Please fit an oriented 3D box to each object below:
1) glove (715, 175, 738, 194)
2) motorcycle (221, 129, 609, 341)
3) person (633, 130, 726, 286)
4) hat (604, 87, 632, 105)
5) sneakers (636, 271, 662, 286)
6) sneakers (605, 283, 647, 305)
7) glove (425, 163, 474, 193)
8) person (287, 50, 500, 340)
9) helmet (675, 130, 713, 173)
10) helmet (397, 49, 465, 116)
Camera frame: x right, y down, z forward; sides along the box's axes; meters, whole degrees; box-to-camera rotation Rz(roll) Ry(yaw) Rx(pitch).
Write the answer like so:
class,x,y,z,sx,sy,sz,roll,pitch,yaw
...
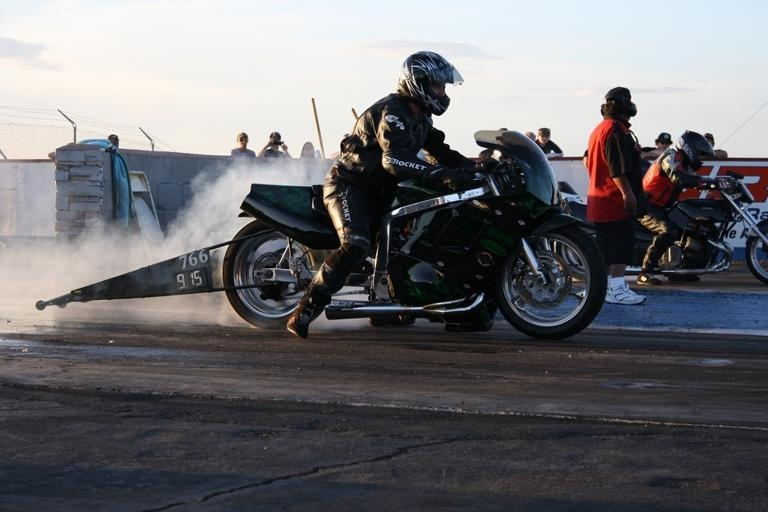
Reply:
class,x,y,z,sx,sy,sz,roll,pitch,yaw
glove,4.304,-0.912,12.603,0.382,0.181,0.207,-1,-14,6
motorcycle,0.222,-0.128,8.588,3.530,1.529,0.990,-1,-4,26
person,3.558,-0.588,12.321,0.820,1.930,1.145,4,12,19
hat,2.404,-1.657,10.327,0.237,0.154,0.328,2,10,9
sneakers,3.273,0.281,12.499,0.360,0.119,0.141,2,7,19
sneakers,2.483,0.400,10.407,0.384,0.173,0.305,3,11,20
glove,0.522,-0.617,7.988,0.385,0.213,0.207,0,11,1
person,0.007,-0.520,8.297,1.473,2.291,0.826,0,12,3
helmet,3.850,-1.333,12.538,0.479,0.379,0.382,16,9,25
helmet,0.367,-1.434,8.268,0.600,0.464,0.439,7,13,18
